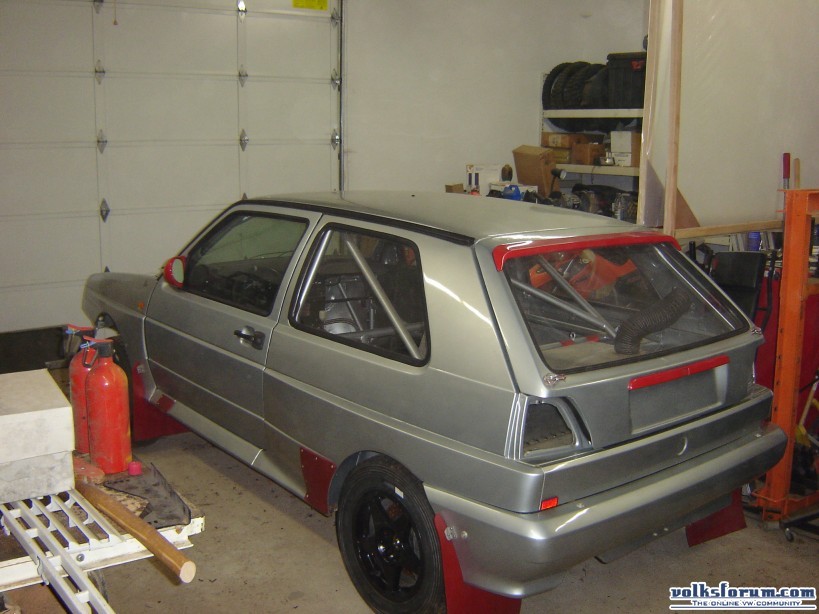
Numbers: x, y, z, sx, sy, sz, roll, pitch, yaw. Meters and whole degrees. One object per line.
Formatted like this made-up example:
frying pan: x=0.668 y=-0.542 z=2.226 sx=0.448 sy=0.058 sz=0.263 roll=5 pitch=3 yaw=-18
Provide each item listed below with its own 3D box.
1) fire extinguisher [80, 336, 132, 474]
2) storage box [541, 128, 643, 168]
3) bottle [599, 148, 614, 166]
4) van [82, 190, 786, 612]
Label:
fire extinguisher: x=-1.162 y=0.378 z=2.291 sx=0.168 sy=0.479 sz=0.256 roll=-10 pitch=16 yaw=-31
storage box: x=2.567 y=-2.213 z=8.349 sx=0.651 sy=0.462 sz=1.790 roll=-7 pitch=16 yaw=-19
bottle: x=2.607 y=-1.989 z=7.981 sx=0.102 sy=0.203 sz=0.298 roll=-6 pitch=15 yaw=-14
van: x=0.002 y=0.105 z=3.286 sx=3.273 sy=1.390 sz=1.952 roll=27 pitch=30 yaw=37
